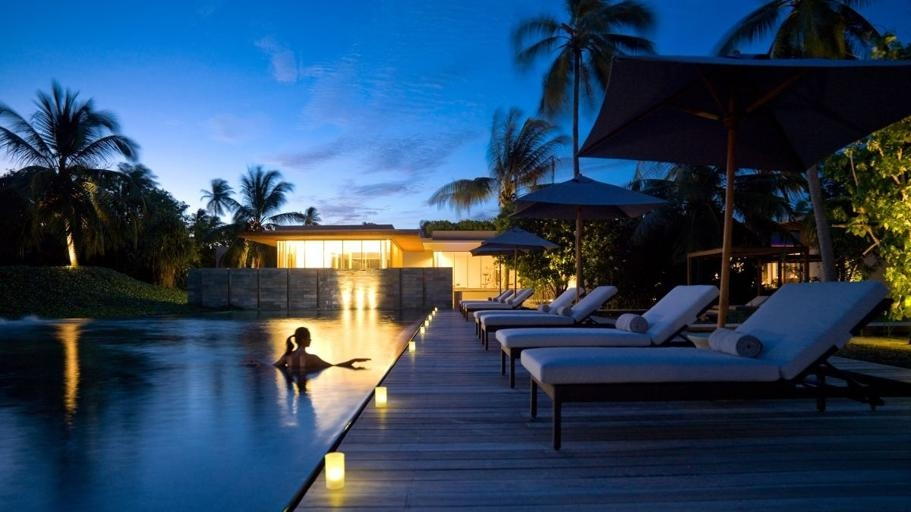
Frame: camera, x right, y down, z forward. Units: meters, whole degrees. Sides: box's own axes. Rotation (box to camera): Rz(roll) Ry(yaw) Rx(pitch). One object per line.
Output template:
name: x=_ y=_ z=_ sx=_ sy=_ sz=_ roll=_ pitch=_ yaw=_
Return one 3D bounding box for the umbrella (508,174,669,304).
umbrella: x=3.736 y=-0.841 z=19.952 sx=3.766 sy=3.141 sz=3.729 roll=4 pitch=10 yaw=40

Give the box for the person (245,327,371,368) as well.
person: x=-3.897 y=2.387 z=18.162 sx=3.103 sy=1.089 sz=0.805 roll=3 pitch=4 yaw=6
